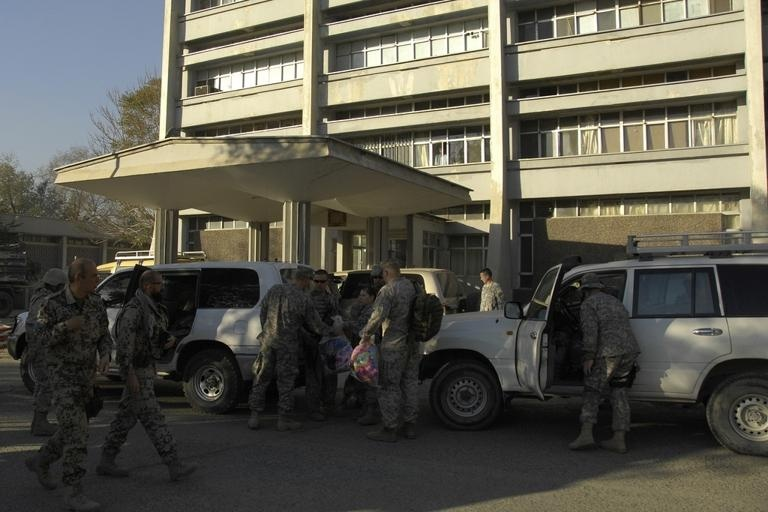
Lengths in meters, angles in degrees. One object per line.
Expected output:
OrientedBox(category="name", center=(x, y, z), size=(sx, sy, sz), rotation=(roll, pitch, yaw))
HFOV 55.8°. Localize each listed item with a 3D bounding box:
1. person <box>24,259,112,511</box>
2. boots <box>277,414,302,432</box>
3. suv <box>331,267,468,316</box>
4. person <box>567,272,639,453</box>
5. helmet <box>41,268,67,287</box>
OrientedBox(category="person", center=(-4.360, 1.754, 10.163), size=(1.019, 3.417, 0.843), rotation=(-2, 7, -22))
OrientedBox(category="boots", center=(-1.700, 2.936, 12.893), size=(0.417, 0.408, 0.205), rotation=(-3, 2, -22))
OrientedBox(category="suv", center=(0.492, 0.745, 18.864), size=(2.493, 1.226, 1.533), rotation=(2, -1, 17))
OrientedBox(category="person", center=(3.661, 1.915, 11.971), size=(0.923, 2.522, 0.571), rotation=(2, 6, 20))
OrientedBox(category="helmet", center=(-5.529, 0.367, 12.367), size=(0.361, 0.277, 0.519), rotation=(4, -9, 2))
